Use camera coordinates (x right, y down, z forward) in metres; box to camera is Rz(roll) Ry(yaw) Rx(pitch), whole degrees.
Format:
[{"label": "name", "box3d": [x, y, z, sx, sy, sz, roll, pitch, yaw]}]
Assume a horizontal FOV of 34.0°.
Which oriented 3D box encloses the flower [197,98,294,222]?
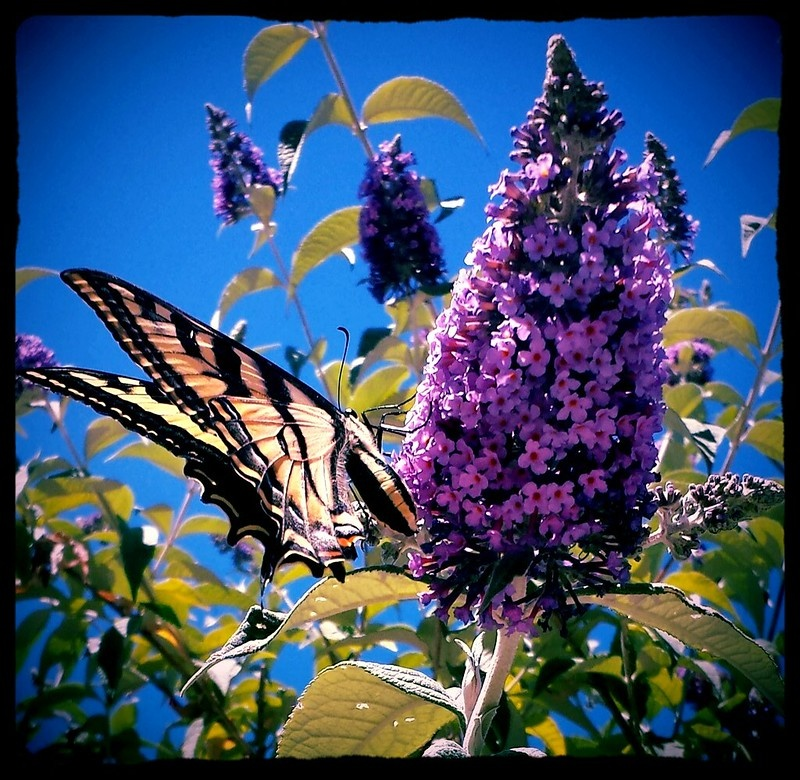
[{"label": "flower", "box3d": [-0.634, -0.933, 5.405, 0.279, 0.454, 0.225, -5, -9, -6]}]
